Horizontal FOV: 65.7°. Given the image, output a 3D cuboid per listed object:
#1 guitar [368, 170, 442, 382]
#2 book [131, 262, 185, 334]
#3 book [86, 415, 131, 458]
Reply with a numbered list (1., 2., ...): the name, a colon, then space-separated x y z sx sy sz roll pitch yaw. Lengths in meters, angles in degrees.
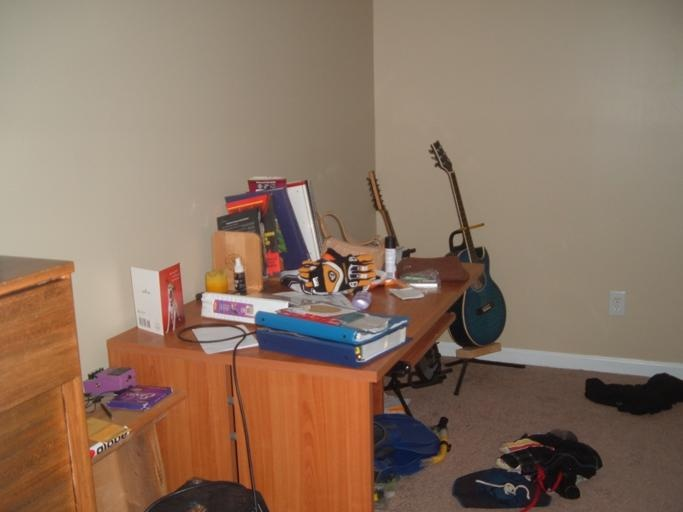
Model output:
1. guitar: 0.342 0.130 2.796 0.154 1.181 0.451 -12 2 30
2. book: -0.590 0.132 1.706 0.148 0.203 0.151 -1 13 -10
3. book: -0.584 0.438 1.315 0.098 0.024 0.095 8 8 29
